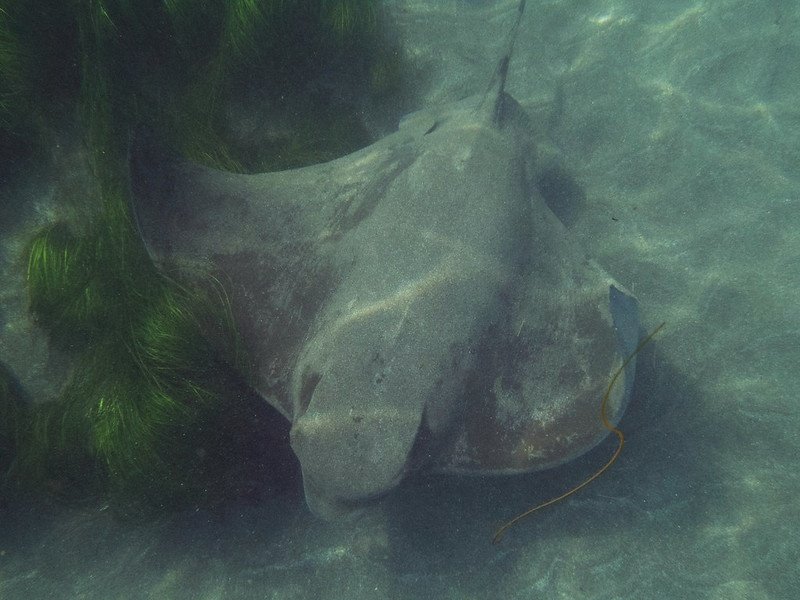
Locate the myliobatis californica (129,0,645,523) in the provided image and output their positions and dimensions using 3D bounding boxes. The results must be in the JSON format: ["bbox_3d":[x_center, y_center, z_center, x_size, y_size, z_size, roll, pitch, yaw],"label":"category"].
[{"bbox_3d":[-0.013,0.012,9.174,3.763,1.357,2.710,-11,59,9],"label":"myliobatis californica"}]
